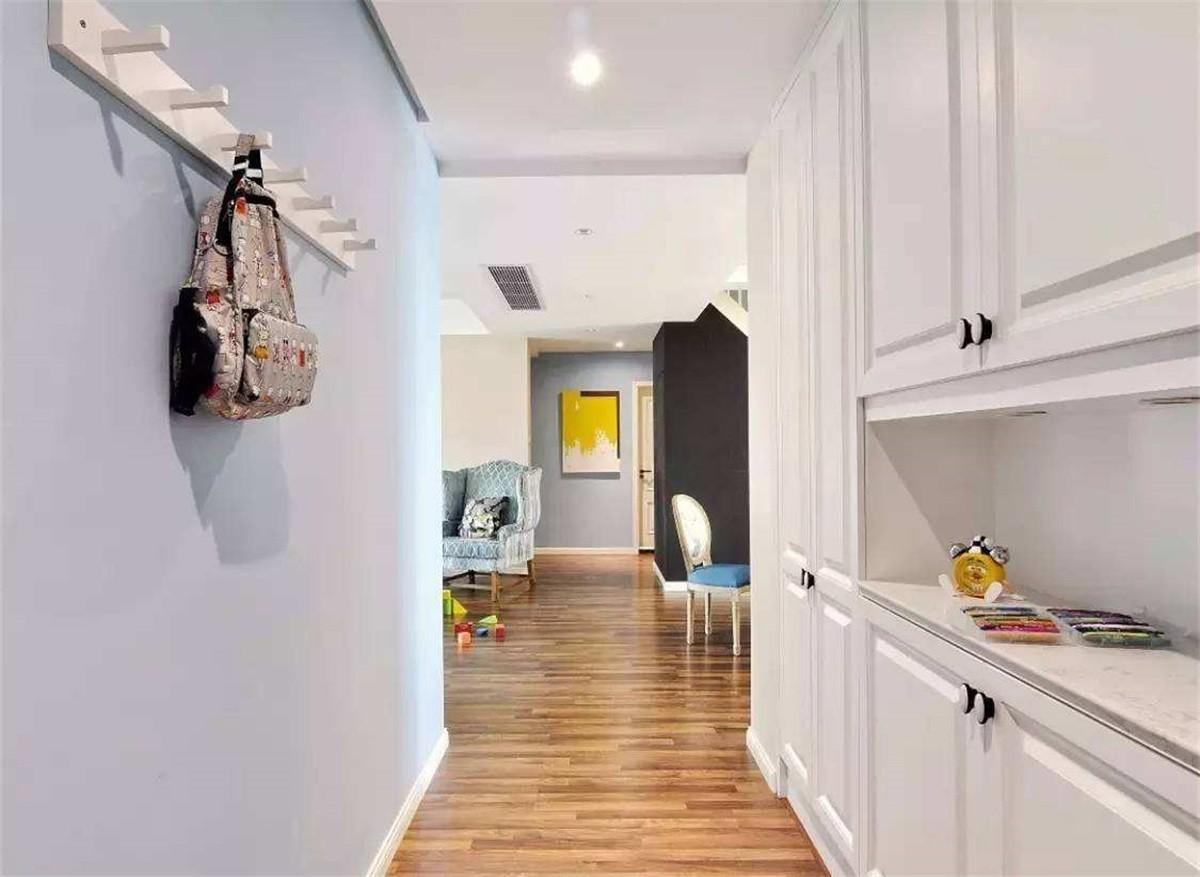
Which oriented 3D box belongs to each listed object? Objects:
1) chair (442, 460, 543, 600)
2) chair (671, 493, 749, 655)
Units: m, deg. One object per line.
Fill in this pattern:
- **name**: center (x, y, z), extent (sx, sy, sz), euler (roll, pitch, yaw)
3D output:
- **chair**: center (-0.997, 0.721, 7.417), extent (0.877, 1.090, 0.922), euler (-1, 1, 1)
- **chair**: center (0.704, 0.804, 5.525), extent (0.492, 0.922, 0.487), euler (0, 1, 22)
